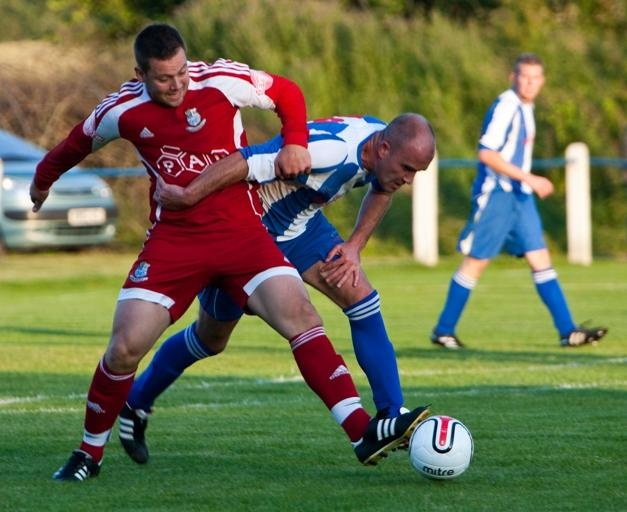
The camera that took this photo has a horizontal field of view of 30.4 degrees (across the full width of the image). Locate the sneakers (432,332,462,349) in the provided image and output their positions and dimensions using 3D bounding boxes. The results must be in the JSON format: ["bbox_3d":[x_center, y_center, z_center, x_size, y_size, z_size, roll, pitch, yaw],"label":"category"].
[{"bbox_3d":[1.029,0.640,8.837,0.265,0.099,0.097,7,17,41],"label":"sneakers"}]

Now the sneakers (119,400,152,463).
[{"bbox_3d":[-0.992,0.979,6.463,0.123,0.155,0.357,14,36,-54],"label":"sneakers"}]

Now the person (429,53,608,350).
[{"bbox_3d":[1.500,-0.390,8.675,1.199,2.204,0.767,1,10,16],"label":"person"}]

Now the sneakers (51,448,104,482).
[{"bbox_3d":[-1.264,1.115,6.156,0.122,0.114,0.241,12,5,36],"label":"sneakers"}]

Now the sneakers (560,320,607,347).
[{"bbox_3d":[1.995,0.576,8.344,0.208,0.084,0.198,-19,-1,-14],"label":"sneakers"}]

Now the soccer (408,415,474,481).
[{"bbox_3d":[0.679,1.003,6.084,0.337,0.296,0.307,2,-4,4],"label":"soccer"}]
